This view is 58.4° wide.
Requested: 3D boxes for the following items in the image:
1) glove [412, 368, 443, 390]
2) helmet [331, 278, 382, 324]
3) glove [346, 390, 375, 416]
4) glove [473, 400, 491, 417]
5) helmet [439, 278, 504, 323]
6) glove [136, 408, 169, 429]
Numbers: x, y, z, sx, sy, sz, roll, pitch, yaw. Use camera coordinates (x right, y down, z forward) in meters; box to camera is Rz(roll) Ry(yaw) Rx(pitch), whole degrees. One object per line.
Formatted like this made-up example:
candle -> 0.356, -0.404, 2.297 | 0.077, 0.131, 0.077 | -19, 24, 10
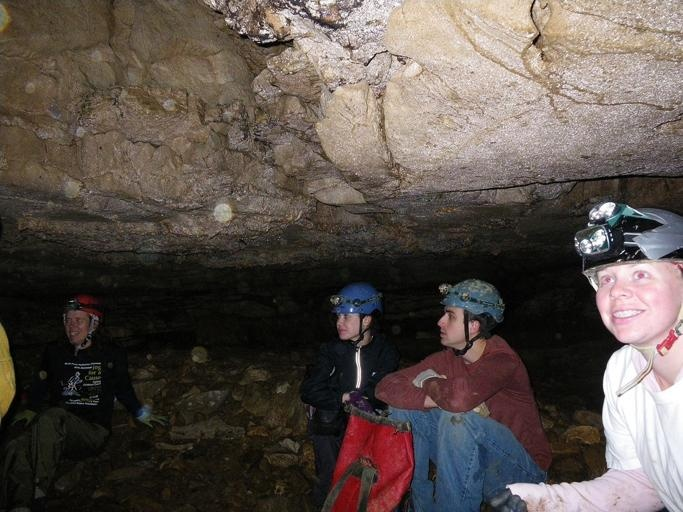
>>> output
glove -> 0.656, 0.942, 4.691 | 0.201, 0.087, 0.118 | -22, -2, 3
helmet -> 0.139, 0.397, 5.569 | 0.514, 0.282, 0.357 | -8, 13, -28
glove -> 0.149, 1.158, 4.824 | 0.196, 0.076, 0.215 | 13, 24, -25
glove -> 1.012, 1.121, 4.411 | 0.078, 0.054, 0.126 | 6, 2, 36
helmet -> 1.049, 0.315, 4.952 | 0.572, 0.251, 0.458 | 11, 12, 11
glove -> -1.847, 1.600, 5.955 | 0.278, 0.151, 0.074 | 20, -41, -4
